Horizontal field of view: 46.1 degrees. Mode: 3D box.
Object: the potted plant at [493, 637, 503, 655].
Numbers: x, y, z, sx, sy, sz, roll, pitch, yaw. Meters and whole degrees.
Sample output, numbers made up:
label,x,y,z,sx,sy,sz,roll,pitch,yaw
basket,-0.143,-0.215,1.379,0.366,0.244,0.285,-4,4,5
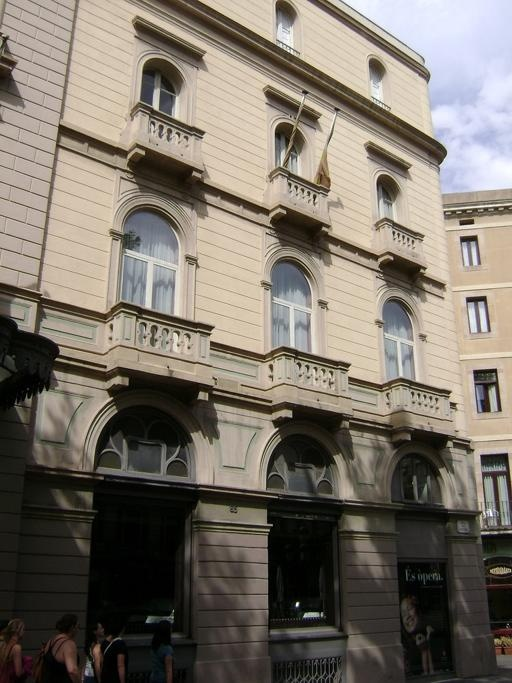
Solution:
label,x,y,z,sx,sy,sz,roll,pitch,yaw
potted plant,8.716,10.945,21.470,0.270,0.443,0.648,-8,-21,20
